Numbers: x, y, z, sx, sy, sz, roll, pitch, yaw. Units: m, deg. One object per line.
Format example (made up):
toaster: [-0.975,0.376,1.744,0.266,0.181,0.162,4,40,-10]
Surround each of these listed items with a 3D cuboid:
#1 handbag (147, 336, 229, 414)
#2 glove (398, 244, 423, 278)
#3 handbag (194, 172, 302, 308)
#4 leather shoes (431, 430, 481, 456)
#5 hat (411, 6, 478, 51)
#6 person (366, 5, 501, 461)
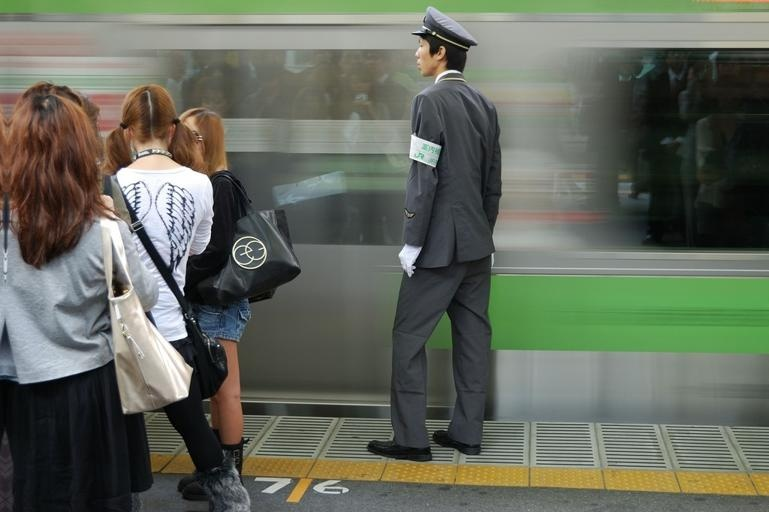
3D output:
handbag: [-0.969,0.573,3.789,0.210,0.312,0.270,-5,-10,25]
glove: [0.184,0.024,4.608,0.074,0.194,0.148,0,18,-29]
handbag: [-0.820,-0.142,4.079,0.653,0.792,0.359,-16,-7,-1]
leather shoes: [0.512,1.242,4.886,0.352,0.130,0.133,17,18,37]
hat: [0.431,-1.401,4.586,0.369,0.138,0.282,20,20,-7]
person: [0.377,-0.117,4.654,0.928,2.849,0.597,-1,14,-2]
